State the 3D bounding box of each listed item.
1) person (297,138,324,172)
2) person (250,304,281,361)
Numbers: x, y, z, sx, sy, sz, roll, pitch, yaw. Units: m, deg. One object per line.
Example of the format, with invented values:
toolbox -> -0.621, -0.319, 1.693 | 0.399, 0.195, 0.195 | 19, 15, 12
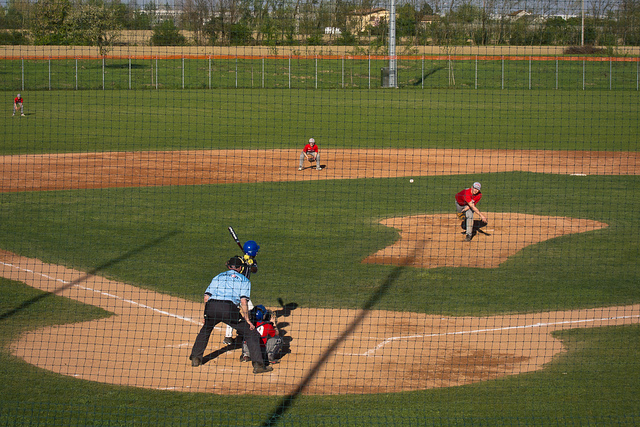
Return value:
person -> -0.541, -3.063, 60.225 | 1.232, 1.548, 1.295 | -4, 11, -40
person -> -1.952, 4.356, 43.242 | 1.256, 2.412, 1.013 | 9, 19, 27
